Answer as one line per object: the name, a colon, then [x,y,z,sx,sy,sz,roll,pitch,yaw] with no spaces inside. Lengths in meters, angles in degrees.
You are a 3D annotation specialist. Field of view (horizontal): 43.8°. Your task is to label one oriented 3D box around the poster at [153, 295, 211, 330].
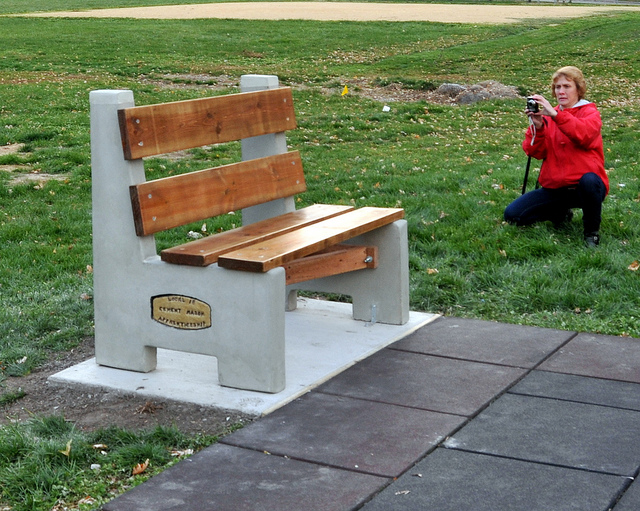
poster: [-0.840,0.342,4.838,0.006,0.210,0.455,-15,-18,39]
